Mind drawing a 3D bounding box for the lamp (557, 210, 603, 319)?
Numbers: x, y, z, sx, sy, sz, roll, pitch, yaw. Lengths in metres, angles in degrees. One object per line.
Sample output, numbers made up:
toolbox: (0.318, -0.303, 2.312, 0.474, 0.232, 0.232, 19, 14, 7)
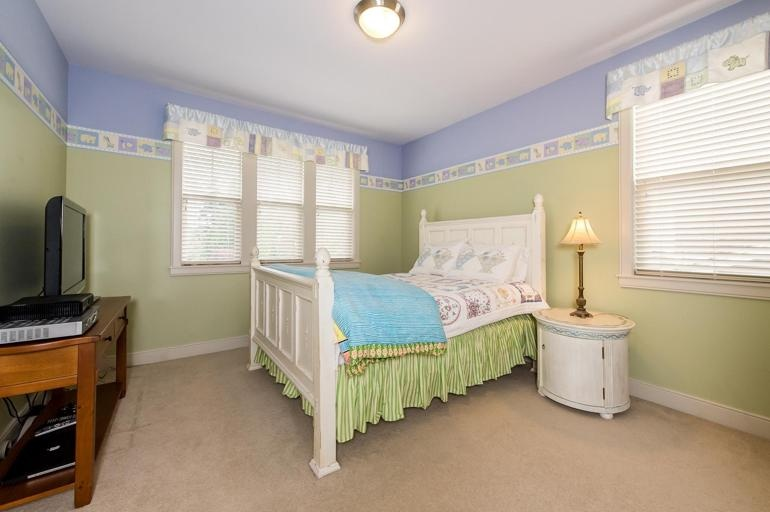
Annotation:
lamp: (2.115, 0.061, 5.261, 0.379, 1.094, 0.649, 1, 4, 23)

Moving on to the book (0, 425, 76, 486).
book: (-2.859, 1.650, 4.038, 0.382, 0.086, 0.413, -8, 18, -34)

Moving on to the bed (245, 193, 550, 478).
bed: (0.178, 0.731, 5.628, 3.032, 2.228, 2.528, 1, -2, -33)

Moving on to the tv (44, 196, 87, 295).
tv: (-2.861, -0.081, 4.319, 0.180, 0.815, 0.898, 0, 4, -20)
